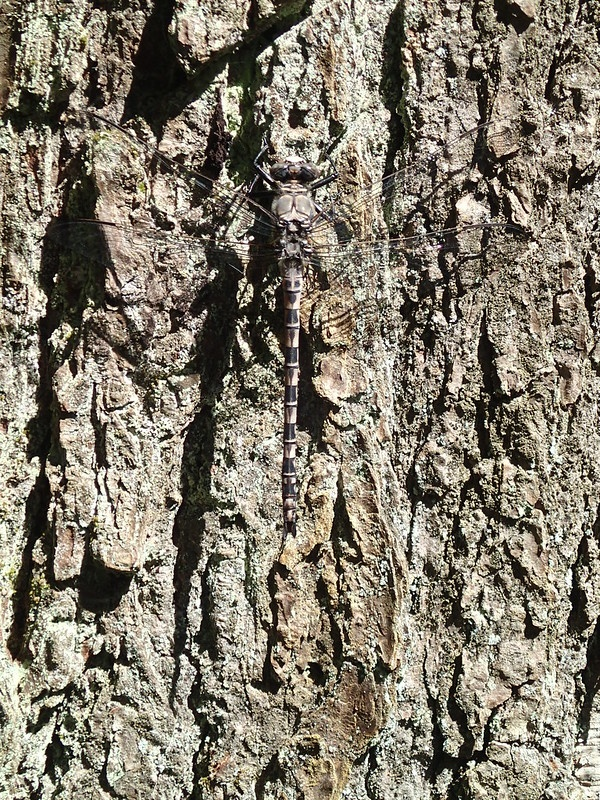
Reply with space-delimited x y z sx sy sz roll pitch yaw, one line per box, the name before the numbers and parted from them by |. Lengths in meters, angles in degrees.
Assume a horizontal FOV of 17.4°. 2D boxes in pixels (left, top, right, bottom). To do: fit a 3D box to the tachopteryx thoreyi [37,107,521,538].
tachopteryx thoreyi | -0.050 -0.269 5.734 1.269 1.235 0.402 8 -10 -1
